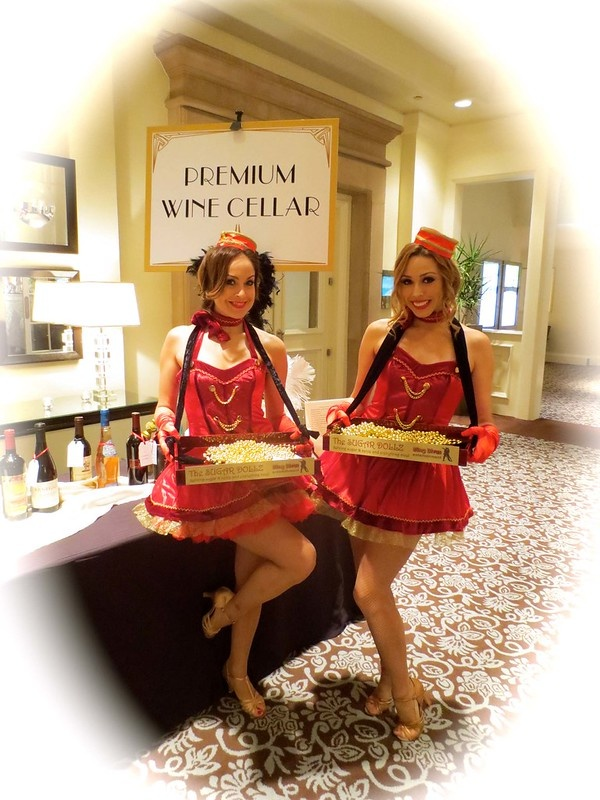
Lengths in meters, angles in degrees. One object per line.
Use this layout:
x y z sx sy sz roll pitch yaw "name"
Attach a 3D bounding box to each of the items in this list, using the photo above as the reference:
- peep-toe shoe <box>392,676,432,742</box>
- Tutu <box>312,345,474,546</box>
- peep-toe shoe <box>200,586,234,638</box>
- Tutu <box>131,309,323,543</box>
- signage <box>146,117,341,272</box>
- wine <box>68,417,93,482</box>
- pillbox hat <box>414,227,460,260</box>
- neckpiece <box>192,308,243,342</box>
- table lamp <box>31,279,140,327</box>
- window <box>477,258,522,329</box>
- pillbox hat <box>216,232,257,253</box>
0.361 0.939 1.730 0.077 0.113 0.224 -8 -12 17 "peep-toe shoe"
0.263 0.124 1.655 0.468 0.539 0.254 3 10 16 "Tutu"
-0.252 0.632 1.711 0.067 0.192 0.074 22 40 -23 "peep-toe shoe"
-0.162 0.134 1.589 0.519 0.628 0.324 -6 11 -34 "Tutu"
-0.205 -0.761 2.119 0.804 0.556 0.034 0 5 5 "signage"
-0.755 0.164 1.957 0.071 0.250 0.240 -4 10 -21 "wine"
0.400 -0.451 1.645 0.089 0.056 0.114 38 30 29 "pillbox hat"
-0.222 -0.210 1.611 0.103 0.100 0.040 31 -24 -1 "neckpiece"
-1.111 -0.470 2.957 0.298 0.180 0.390 6 9 26 "table lamp"
2.639 -1.422 7.618 0.088 0.781 1.160 7 15 33 "window"
-0.179 -0.452 1.650 0.085 0.030 0.086 9 -3 0 "pillbox hat"
